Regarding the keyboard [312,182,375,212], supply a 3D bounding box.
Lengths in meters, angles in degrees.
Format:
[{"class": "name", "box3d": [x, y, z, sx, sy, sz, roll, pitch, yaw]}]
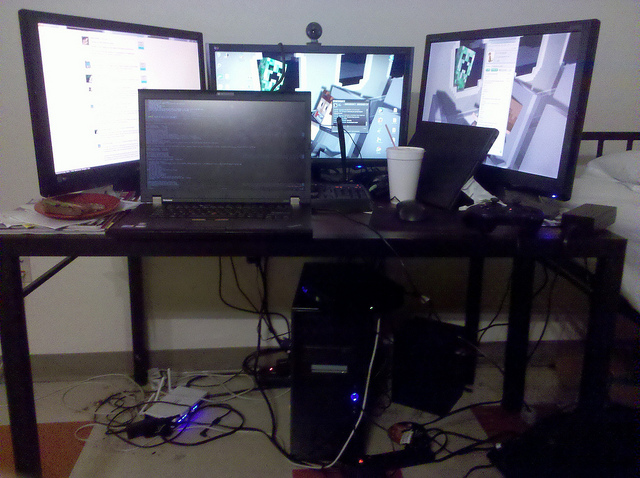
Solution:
[{"class": "keyboard", "box3d": [0.069, -0.150, 1.911, 0.192, 0.060, 0.187, 1, 23, -2]}]

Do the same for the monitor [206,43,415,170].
[{"class": "monitor", "box3d": [-0.022, -0.490, 2.103, 0.765, 0.480, 0.024, -1, 26, -10]}]

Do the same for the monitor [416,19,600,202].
[{"class": "monitor", "box3d": [0.634, -0.431, 1.921, 0.080, 0.519, 0.605, 0, 22, -42]}]

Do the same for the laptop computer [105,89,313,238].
[{"class": "laptop computer", "box3d": [-0.306, -0.245, 1.701, 0.588, 0.383, 0.411, 1, 17, 0]}]

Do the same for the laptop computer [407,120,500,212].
[{"class": "laptop computer", "box3d": [0.497, -0.219, 2.022, 0.328, 0.304, 0.073, 35, 9, 40]}]

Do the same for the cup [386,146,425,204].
[{"class": "cup", "box3d": [0.299, -0.237, 1.978, 0.158, 0.199, 0.163, 4, 23, -2]}]

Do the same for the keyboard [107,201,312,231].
[{"class": "keyboard", "box3d": [-0.319, -0.069, 1.728, 0.592, 0.021, 0.235, 2, 23, 0]}]

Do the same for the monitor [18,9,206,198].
[{"class": "monitor", "box3d": [-0.693, -0.453, 1.883, 0.681, 0.596, 0.146, -8, 12, -43]}]

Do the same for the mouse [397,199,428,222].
[{"class": "mouse", "box3d": [0.299, -0.096, 1.785, 0.057, 0.030, 0.093, 4, 15, -1]}]
